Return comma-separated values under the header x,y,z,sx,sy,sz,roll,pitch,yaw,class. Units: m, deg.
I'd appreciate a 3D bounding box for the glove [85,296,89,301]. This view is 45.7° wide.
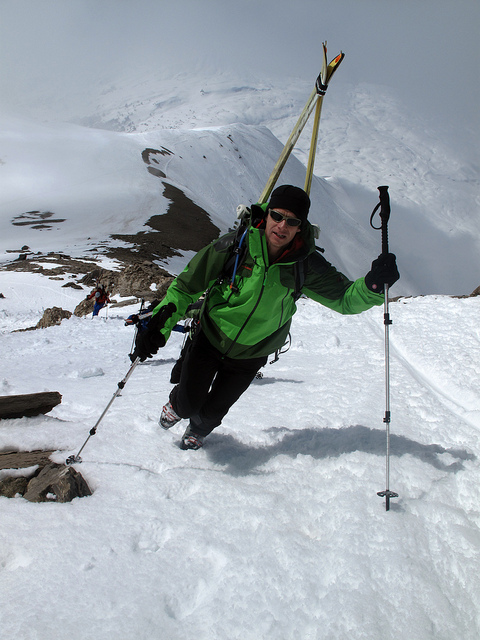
x,y,z,sx,sy,sz,roll,pitch,yaw,class
-5.273,-0.727,19.658,0.069,0.166,0.157,12,64,-14,glove

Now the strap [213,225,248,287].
x,y,z,sx,sy,sz,roll,pitch,yaw,class
-0.115,-0.571,5.113,0.352,0.446,0.135,10,28,-42,strap

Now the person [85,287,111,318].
x,y,z,sx,sy,sz,roll,pitch,yaw,class
-4.641,-0.515,18.573,0.594,1.317,1.094,10,33,-21,person

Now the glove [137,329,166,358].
x,y,z,sx,sy,sz,roll,pitch,yaw,class
-0.810,0.208,5.171,0.218,0.119,0.275,22,4,-5,glove

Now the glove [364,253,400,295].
x,y,z,sx,sy,sz,roll,pitch,yaw,class
1.276,-0.425,5.184,0.156,0.352,0.272,13,18,-35,glove
